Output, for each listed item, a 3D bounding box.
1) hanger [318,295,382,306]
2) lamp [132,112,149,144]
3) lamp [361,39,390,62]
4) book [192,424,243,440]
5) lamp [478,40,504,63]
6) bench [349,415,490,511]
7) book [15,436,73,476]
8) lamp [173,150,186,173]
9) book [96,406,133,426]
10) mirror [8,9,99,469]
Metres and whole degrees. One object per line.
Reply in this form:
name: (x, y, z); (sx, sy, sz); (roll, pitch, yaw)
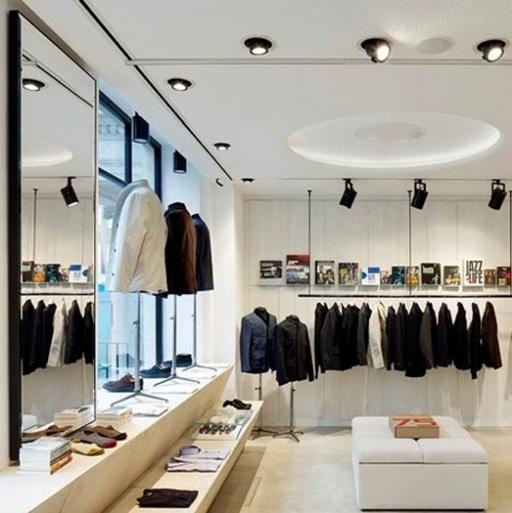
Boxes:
hanger: (1.075, 0.491, 6.119); (0.593, 0.108, 0.048); (-2, 2, 3)
lamp: (-0.817, -0.925, 3.930); (0.109, 0.198, 0.318); (-1, -2, -12)
lamp: (0.552, -0.918, 2.517); (0.099, 0.122, 0.039); (9, 16, 22)
book: (-0.273, 1.251, 3.928); (0.333, 0.045, 0.266); (-2, -2, -6)
lamp: (1.074, -0.929, 2.532); (0.123, 0.081, 0.130); (-3, -2, 30)
bench: (1.218, 1.577, 4.241); (0.924, 0.431, 0.672); (-3, -2, 7)
book: (-0.883, 0.833, 2.331); (0.130, 0.128, 0.213); (-2, -2, 11)
lamp: (-0.663, -0.815, 4.839); (0.138, 0.284, 0.159); (0, 0, -7)
book: (-0.752, 0.857, 2.950); (0.140, 0.095, 0.239); (-2, -2, 0)
mirror: (-0.931, -0.071, 2.561); (0.132, 1.892, 0.581); (-2, -1, 13)
